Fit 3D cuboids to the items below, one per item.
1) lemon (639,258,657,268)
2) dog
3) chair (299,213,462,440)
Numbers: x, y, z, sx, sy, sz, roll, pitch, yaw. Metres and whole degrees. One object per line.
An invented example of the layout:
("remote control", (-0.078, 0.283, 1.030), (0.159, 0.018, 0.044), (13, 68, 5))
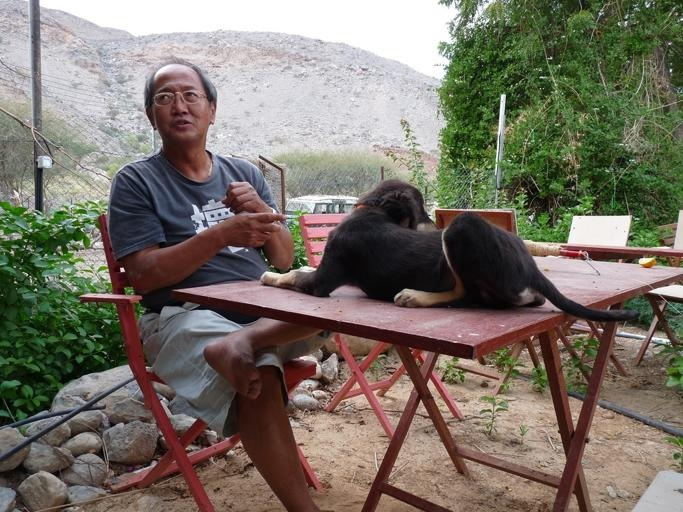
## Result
("lemon", (1.957, 0.041, 3.110), (0.072, 0.038, 0.069), (-20, 21, -20))
("dog", (0.395, -0.033, 1.928), (1.425, 0.435, 0.489), (4, 4, 29))
("chair", (0.409, 0.474, 4.597), (1.800, 1.979, 1.436), (3, 6, 37))
